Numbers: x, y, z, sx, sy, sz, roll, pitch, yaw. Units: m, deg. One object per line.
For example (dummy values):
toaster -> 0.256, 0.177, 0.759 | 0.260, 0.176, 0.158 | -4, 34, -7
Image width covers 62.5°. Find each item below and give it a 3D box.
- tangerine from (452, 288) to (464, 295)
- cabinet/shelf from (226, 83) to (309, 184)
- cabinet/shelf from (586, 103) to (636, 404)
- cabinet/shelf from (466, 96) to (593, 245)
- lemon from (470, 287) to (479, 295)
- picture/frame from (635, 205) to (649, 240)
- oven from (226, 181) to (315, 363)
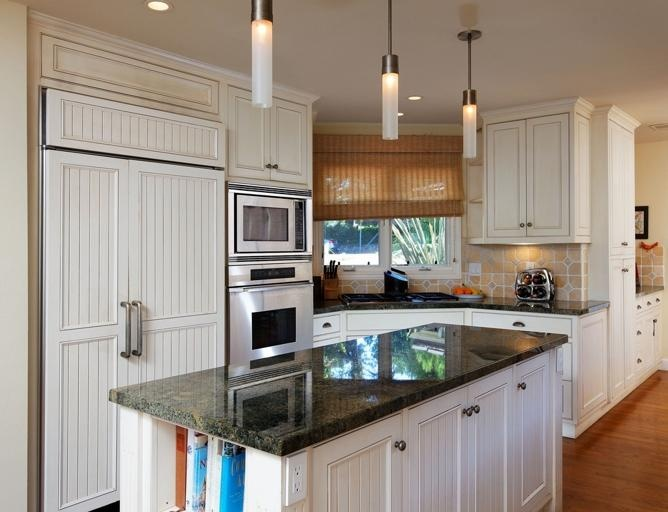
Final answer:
tangerine -> 1.227, 0.333, 5.376 | 0.066, 0.056, 0.065 | -2, 3, -42
cabinet/shelf -> -0.520, -0.889, 4.034 | 0.847, 0.681, 0.317 | 2, -4, -44
cabinet/shelf -> 2.660, 0.015, 5.245 | 0.435, 2.774, 0.869 | 6, 12, 36
cabinet/shelf -> 1.765, -0.767, 4.811 | 1.250, 1.140, 0.498 | -2, -4, 40
lemon -> 1.373, 0.332, 5.387 | 0.072, 0.038, 0.097 | 3, 9, -15
picture/frame -> 3.651, -0.406, 6.497 | 0.153, 0.405, 0.088 | 4, 11, 27
oven -> -0.650, 0.136, 4.364 | 0.866, 1.342, 0.737 | -3, 5, -34
